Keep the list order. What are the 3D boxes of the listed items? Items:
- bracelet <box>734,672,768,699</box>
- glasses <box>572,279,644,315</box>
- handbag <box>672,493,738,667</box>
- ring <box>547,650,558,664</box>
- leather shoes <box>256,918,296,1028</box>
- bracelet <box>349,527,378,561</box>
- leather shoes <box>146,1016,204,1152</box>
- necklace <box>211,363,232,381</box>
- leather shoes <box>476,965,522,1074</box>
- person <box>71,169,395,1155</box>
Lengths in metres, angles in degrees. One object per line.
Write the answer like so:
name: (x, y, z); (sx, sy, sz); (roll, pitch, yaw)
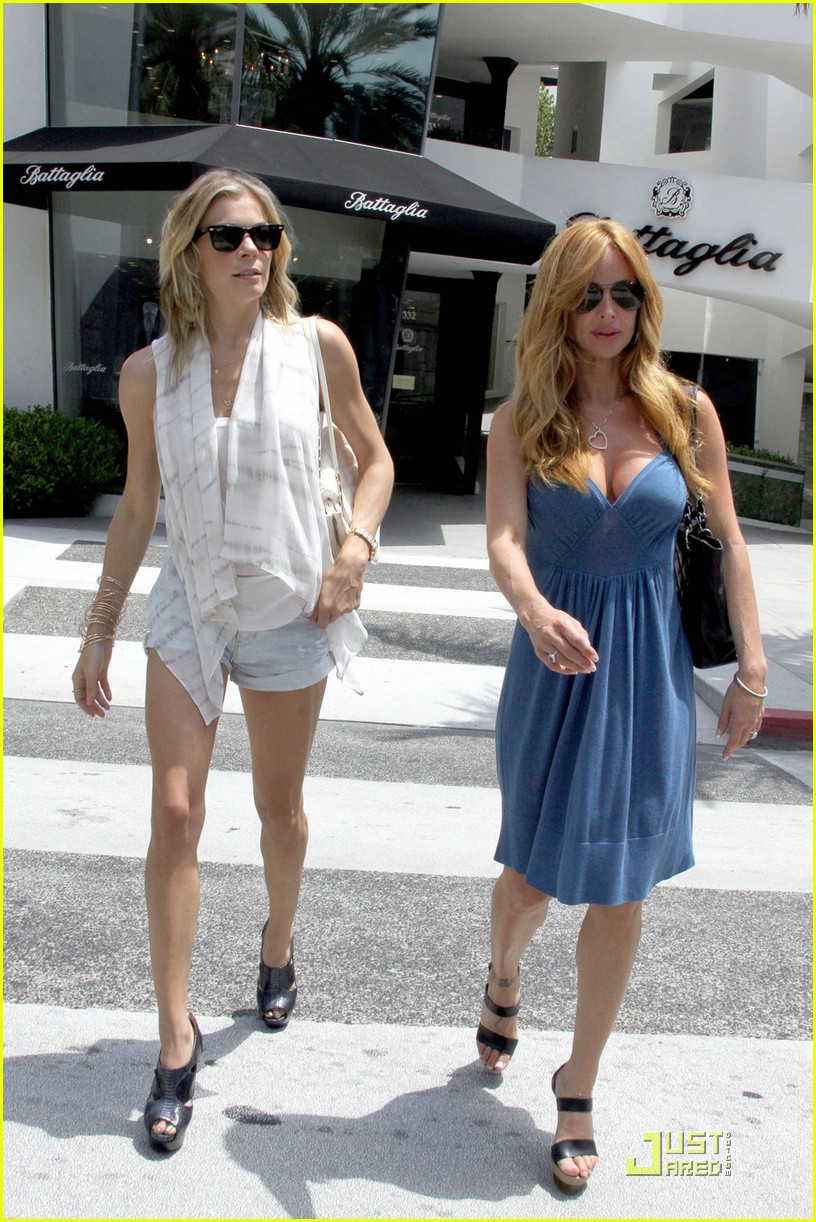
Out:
bracelet: (0.748, 0.166, 2.417); (0.072, 0.062, 0.025); (-5, 46, 42)
glasses: (0.434, -0.661, 2.299); (0.157, 0.084, 0.051); (2, 9, -28)
handbag: (0.642, -0.057, 2.373); (0.127, 0.345, 0.335); (-12, 8, 8)
ring: (0.271, 0.089, 2.057); (0.010, 0.021, 0.017); (-2, 1, 40)
leather shoes: (-0.336, 0.988, 2.860); (0.092, 0.095, 0.254); (-1, 8, -3)
bracelet: (-0.101, -0.163, 2.588); (0.077, 0.036, 0.059); (50, 19, 13)
leather shoes: (-0.495, 1.000, 2.266); (0.092, 0.167, 0.232); (6, 8, -6)
necklace: (-0.416, -0.535, 2.433); (0.044, 0.039, 0.010); (-8, -6, -2)
leather shoes: (0.220, 1.002, 2.661); (0.096, 0.265, 0.078); (5, 14, 22)
person: (-0.489, 0.042, 2.479); (0.612, 2.088, 0.809); (9, 8, 19)
